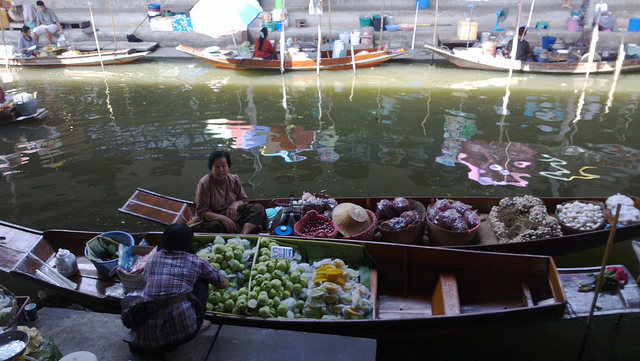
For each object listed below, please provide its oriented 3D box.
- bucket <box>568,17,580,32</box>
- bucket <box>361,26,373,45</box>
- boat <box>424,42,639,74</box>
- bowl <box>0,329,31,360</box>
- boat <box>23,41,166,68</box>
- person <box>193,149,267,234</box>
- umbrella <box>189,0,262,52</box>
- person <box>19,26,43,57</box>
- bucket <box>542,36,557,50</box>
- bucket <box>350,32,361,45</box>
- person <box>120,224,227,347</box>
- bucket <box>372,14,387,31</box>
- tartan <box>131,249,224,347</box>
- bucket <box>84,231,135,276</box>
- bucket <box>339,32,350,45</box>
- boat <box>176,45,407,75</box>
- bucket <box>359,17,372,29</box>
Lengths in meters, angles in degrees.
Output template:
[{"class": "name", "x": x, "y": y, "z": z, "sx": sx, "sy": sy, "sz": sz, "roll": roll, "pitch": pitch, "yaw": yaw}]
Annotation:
[{"class": "bucket", "x": 11.234, "y": -6.890, "z": 17.094, "sx": 0.364, "sy": 0.602, "sz": 0.341, "roll": -1, "pitch": 24, "yaw": 1}, {"class": "bucket", "x": 2.007, "y": -6.640, "z": 17.668, "sx": 0.831, "sy": 0.743, "sz": 0.736, "roll": -3, "pitch": 36, "yaw": -2}, {"class": "boat", "x": 8.346, "y": -4.902, "z": 15.664, "sx": 7.551, "sy": 1.129, "sz": 1.126, "roll": 5, "pitch": 23, "yaw": 16}, {"class": "bowl", "x": -4.573, "y": 2.393, "z": 5.723, "sx": 0.461, "sy": 0.236, "sz": 0.355, "roll": 16, "pitch": 27, "yaw": 38}, {"class": "boat", "x": -10.475, "y": -5.731, "z": 17.640, "sx": 7.398, "sy": 0.903, "sz": 1.390, "roll": -4, "pitch": 54, "yaw": -4}, {"class": "person", "x": -1.833, "y": 0.253, "z": 7.388, "sx": 1.327, "sy": 1.686, "sz": 0.727, "roll": -11, "pitch": 26, "yaw": -21}, {"class": "umbrella", "x": -3.746, "y": -6.265, "z": 15.709, "sx": 2.194, "sy": 1.628, "sz": 1.972, "roll": 6, "pitch": -5, "yaw": 7}, {"class": "person", "x": -13.181, "y": -6.205, "z": 17.310, "sx": 0.817, "sy": 1.237, "sz": 2.031, "roll": -16, "pitch": 26, "yaw": -31}, {"class": "bucket", "x": 9.748, "y": -5.801, "z": 16.341, "sx": 0.594, "sy": 0.487, "sz": 0.511, "roll": -7, "pitch": 29, "yaw": -8}, {"class": "bucket", "x": 1.505, "y": -6.447, "z": 17.543, "sx": 0.552, "sy": 0.524, "sz": 0.507, "roll": 0, "pitch": 39, "yaw": 0}, {"class": "person", "x": -2.521, "y": 1.583, "z": 6.357, "sx": 1.544, "sy": 1.800, "sz": 1.178, "roll": 3, "pitch": -2, "yaw": -24}, {"class": "bucket", "x": 2.752, "y": -7.424, "z": 18.144, "sx": 0.882, "sy": 0.748, "sz": 0.788, "roll": 9, "pitch": 35, "yaw": 18}, {"class": "tartan", "x": -2.277, "y": 1.785, "z": 5.880, "sx": 1.460, "sy": 1.453, "sz": 0.588, "roll": -5, "pitch": 24, "yaw": -9}, {"class": "bucket", "x": -3.835, "y": 1.287, "z": 7.168, "sx": 0.761, "sy": 0.871, "sz": 0.663, "roll": 15, "pitch": -1, "yaw": -4}, {"class": "bucket", "x": 1.042, "y": -6.367, "z": 17.321, "sx": 0.427, "sy": 0.459, "sz": 0.574, "roll": 7, "pitch": 23, "yaw": 18}, {"class": "boat", "x": -0.974, "y": -5.151, "z": 16.567, "sx": 9.767, "sy": 0.947, "sz": 1.638, "roll": -1, "pitch": 47, "yaw": 0}, {"class": "bucket", "x": 2.137, "y": -7.282, "z": 17.867, "sx": 0.519, "sy": 0.401, "sz": 0.438, "roll": -3, "pitch": 37, "yaw": 0}]
